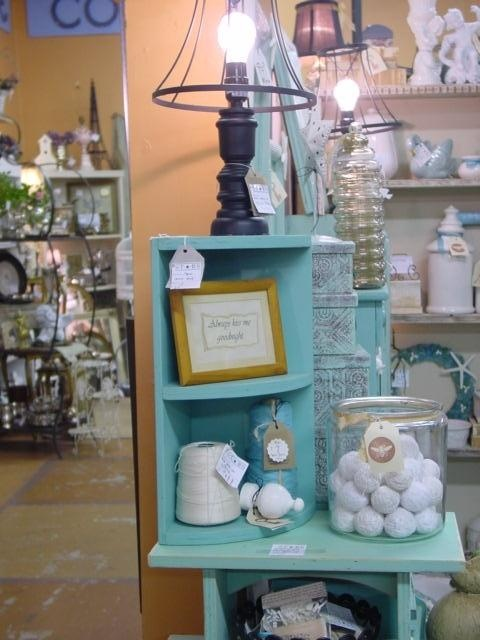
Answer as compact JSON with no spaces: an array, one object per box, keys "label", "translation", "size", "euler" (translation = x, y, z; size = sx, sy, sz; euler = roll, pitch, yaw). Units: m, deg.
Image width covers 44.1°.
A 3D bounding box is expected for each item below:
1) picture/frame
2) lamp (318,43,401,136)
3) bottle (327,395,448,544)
[{"label":"picture/frame","translation":[-0.037,0.032,1.159],"size":[0.182,0.172,0.014],"euler":[-5,-7,-29]},{"label":"lamp","translation":[0.503,-0.992,2.516],"size":[0.306,0.353,0.331],"euler":[-10,25,13]},{"label":"bottle","translation":[0.260,0.278,1.148],"size":[0.210,0.267,0.225],"euler":[-1,-2,0]}]
